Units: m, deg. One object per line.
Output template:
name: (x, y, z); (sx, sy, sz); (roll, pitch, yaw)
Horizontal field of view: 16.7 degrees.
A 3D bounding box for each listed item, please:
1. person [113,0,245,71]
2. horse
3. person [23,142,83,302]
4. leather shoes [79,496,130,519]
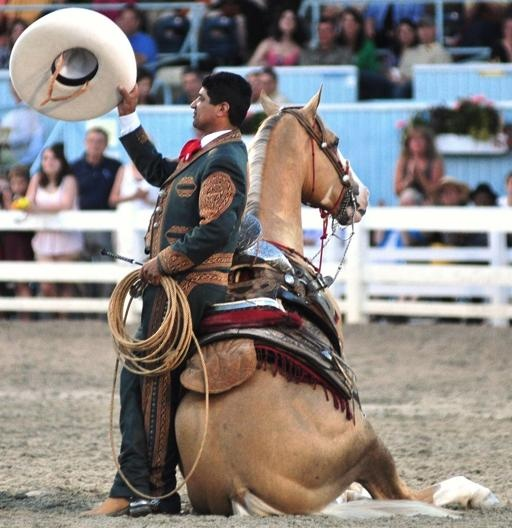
person: (-0.649, -2.015, 15.558); (1.187, 0.919, 0.477); (0, 9, 5)
horse: (0.234, 0.252, 8.753); (1.188, 2.249, 1.669); (-10, -6, 35)
person: (-1.586, -0.300, 13.819); (0.424, 1.339, 1.276); (-2, 9, -6)
leather shoes: (-0.722, 1.167, 8.334); (0.229, 0.108, 0.090); (1, -10, 3)
